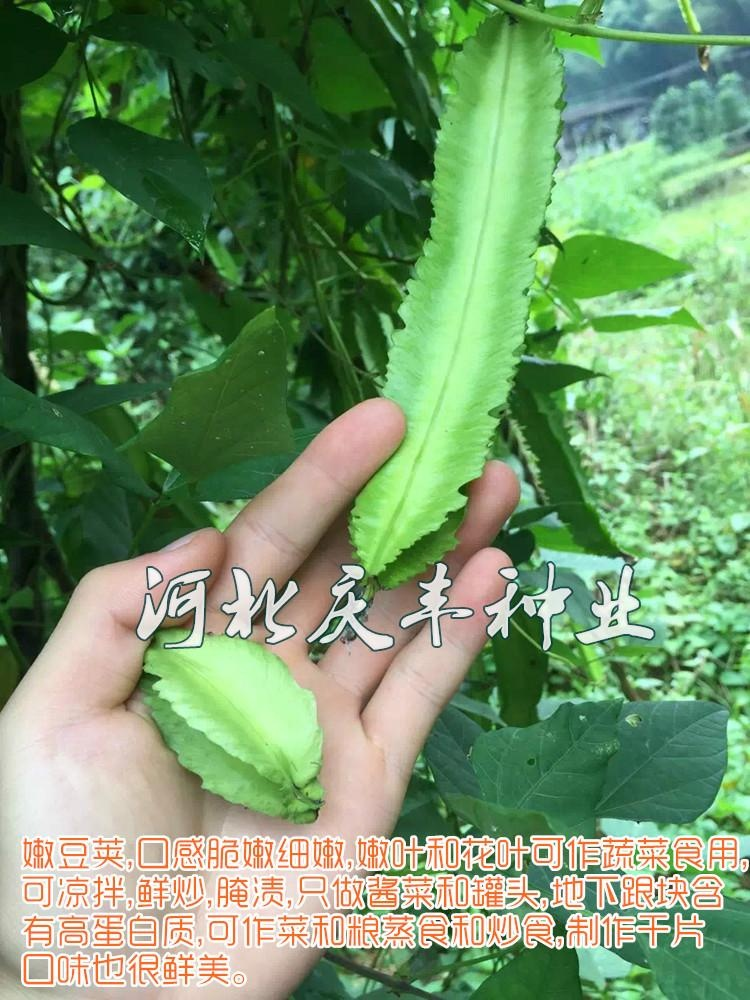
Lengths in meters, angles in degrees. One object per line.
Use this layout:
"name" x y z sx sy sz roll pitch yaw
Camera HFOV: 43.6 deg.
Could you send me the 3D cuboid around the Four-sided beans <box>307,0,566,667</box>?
"Four-sided beans" 0.061 -0.092 0.575 0.091 0.385 0.061 19 5 15
